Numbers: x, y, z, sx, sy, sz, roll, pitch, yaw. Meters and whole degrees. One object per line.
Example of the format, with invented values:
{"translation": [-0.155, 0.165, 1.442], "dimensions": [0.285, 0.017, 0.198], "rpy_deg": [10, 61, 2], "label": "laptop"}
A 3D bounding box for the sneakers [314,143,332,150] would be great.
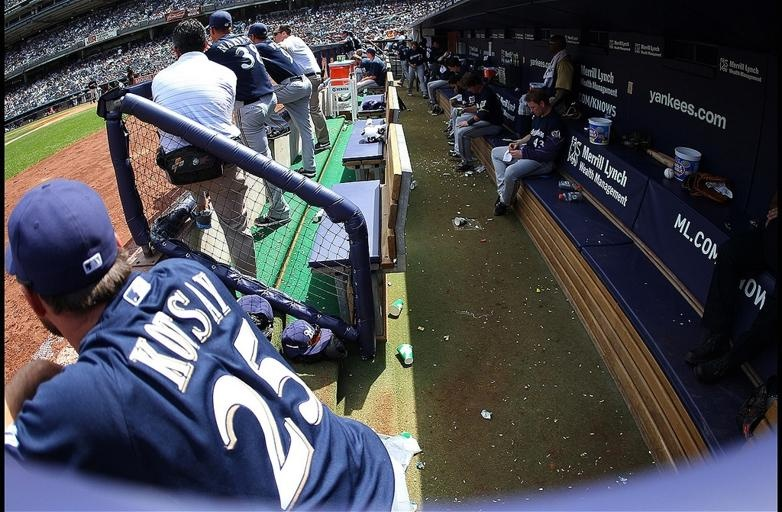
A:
{"translation": [-1.012, -1.603, 7.212], "dimensions": [0.252, 0.105, 0.085], "rpy_deg": [-6, 58, 3], "label": "sneakers"}

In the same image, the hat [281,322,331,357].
{"translation": [-0.553, 0.561, 3.241], "dimensions": [0.288, 0.163, 0.214], "rpy_deg": [-16, 32, 7], "label": "hat"}

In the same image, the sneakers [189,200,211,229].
{"translation": [-1.302, -0.287, 3.431], "dimensions": [0.122, 0.143, 0.152], "rpy_deg": [-1, 39, 1], "label": "sneakers"}

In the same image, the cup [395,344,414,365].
{"translation": [0.098, 0.703, 3.499], "dimensions": [0.135, 0.118, 0.149], "rpy_deg": [-17, 33, -1], "label": "cup"}

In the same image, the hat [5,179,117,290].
{"translation": [-1.068, -0.046, 1.586], "dimensions": [0.283, 0.216, 0.378], "rpy_deg": [-21, 53, -35], "label": "hat"}

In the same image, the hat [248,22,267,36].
{"translation": [-1.441, -2.476, 5.305], "dimensions": [0.187, 0.133, 0.244], "rpy_deg": [-5, 60, -20], "label": "hat"}

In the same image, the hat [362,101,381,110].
{"translation": [-0.306, -2.339, 7.569], "dimensions": [0.273, 0.088, 0.180], "rpy_deg": [4, 37, 15], "label": "hat"}

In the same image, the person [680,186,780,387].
{"translation": [1.943, 0.150, 2.650], "dimensions": [0.372, 0.852, 0.865], "rpy_deg": [21, 43, 32], "label": "person"}

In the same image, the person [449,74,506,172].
{"translation": [1.190, -1.931, 6.938], "dimensions": [0.851, 1.252, 0.755], "rpy_deg": [-13, 27, -12], "label": "person"}

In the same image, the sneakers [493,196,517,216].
{"translation": [1.224, -0.548, 5.523], "dimensions": [0.152, 0.343, 0.117], "rpy_deg": [-5, 67, -45], "label": "sneakers"}

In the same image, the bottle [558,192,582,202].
{"translation": [1.697, -0.563, 4.619], "dimensions": [0.178, 0.072, 0.103], "rpy_deg": [0, 12, -3], "label": "bottle"}
